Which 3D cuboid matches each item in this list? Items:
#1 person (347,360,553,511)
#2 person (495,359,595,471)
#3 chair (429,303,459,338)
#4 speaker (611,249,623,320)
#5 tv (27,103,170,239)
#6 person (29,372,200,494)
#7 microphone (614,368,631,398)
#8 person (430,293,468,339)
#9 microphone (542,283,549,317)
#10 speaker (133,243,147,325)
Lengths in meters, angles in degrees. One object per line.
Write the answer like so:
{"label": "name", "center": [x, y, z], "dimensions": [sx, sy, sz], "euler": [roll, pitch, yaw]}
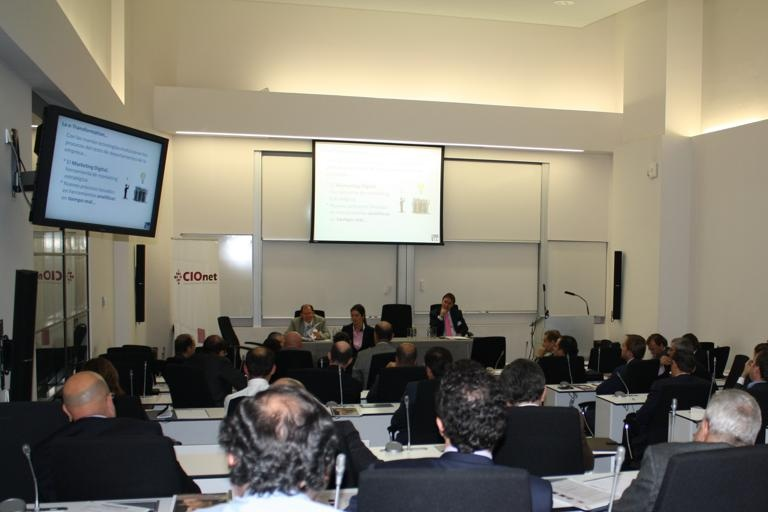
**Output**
{"label": "person", "center": [0.407, 1.110, 3.590], "dimensions": [0.998, 1.420, 0.489], "euler": [1, 7, -6]}
{"label": "person", "center": [1.064, 1.039, 4.103], "dimensions": [0.665, 0.941, 0.762], "euler": [0, -1, 15]}
{"label": "chair", "center": [1.098, 0.980, 9.679], "dimensions": [0.635, 0.668, 0.444], "euler": [0, -2, 2]}
{"label": "speaker", "center": [4.228, 0.536, 10.484], "dimensions": [0.218, 1.229, 0.151], "euler": [-1, -3, 31]}
{"label": "tv", "center": [-2.593, -0.726, 5.381], "dimensions": [0.267, 0.994, 1.286], "euler": [-1, -3, 25]}
{"label": "person", "center": [-1.796, 1.211, 3.951], "dimensions": [0.648, 0.461, 1.314], "euler": [-4, -39, -3]}
{"label": "microphone", "center": [2.723, 1.428, 6.603], "dimensions": [0.129, 0.342, 0.213], "euler": [-9, -10, 37]}
{"label": "person", "center": [1.086, 1.034, 9.875], "dimensions": [0.552, 1.228, 0.428], "euler": [-1, -13, -7]}
{"label": "microphone", "center": [3.173, 0.855, 11.366], "dimensions": [0.115, 0.654, 0.094], "euler": [0, -2, 8]}
{"label": "speaker", "center": [-4.132, 0.459, 9.810], "dimensions": [0.180, 1.275, 0.555], "euler": [1, -3, -23]}
